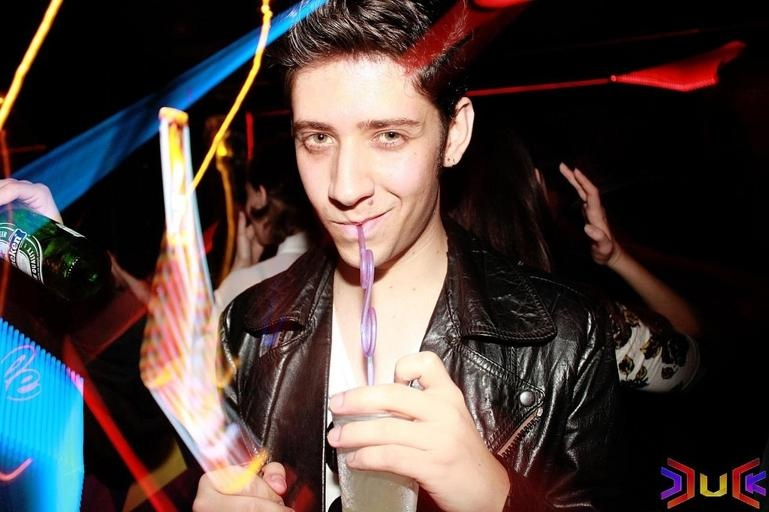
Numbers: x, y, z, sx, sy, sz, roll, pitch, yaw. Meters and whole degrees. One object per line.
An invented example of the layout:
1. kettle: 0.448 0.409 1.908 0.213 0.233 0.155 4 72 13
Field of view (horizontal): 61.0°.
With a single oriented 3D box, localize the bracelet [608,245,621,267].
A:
1. bracelet: 2.057 0.001 5.876 0.124 0.161 0.165 7 29 2
